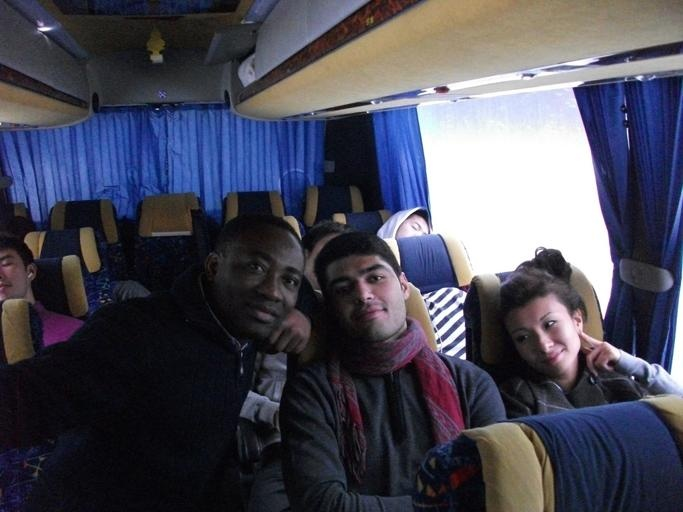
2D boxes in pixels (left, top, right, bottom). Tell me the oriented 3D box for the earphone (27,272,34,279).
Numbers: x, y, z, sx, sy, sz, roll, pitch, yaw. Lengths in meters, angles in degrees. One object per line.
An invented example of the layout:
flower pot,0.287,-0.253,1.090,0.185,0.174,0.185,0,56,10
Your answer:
earphone,-1.664,0.106,2.733,0.020,0.025,0.027,8,8,0
